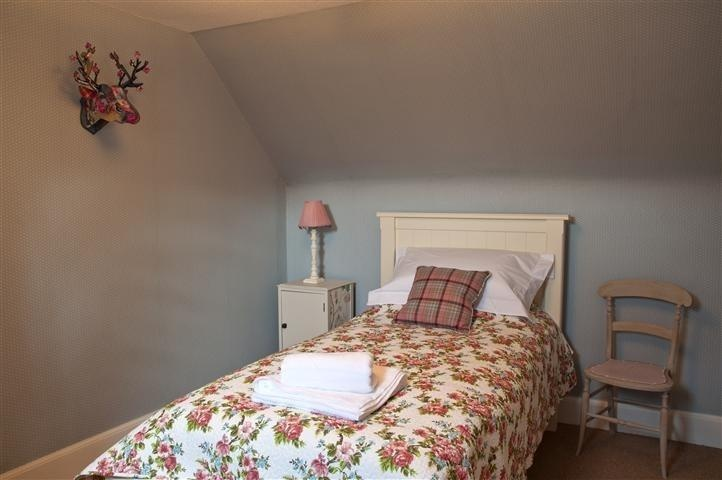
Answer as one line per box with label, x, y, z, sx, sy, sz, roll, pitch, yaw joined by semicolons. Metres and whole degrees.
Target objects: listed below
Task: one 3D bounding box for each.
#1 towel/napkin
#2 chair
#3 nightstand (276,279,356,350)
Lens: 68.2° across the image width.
towel/napkin;-0.158;0.710;2.705;0.781;0.278;0.381;4;1;1
chair;1.941;0.909;3.745;0.628;1.214;0.613;6;3;32
nightstand;-0.407;0.725;4.735;0.545;0.711;0.419;0;7;23
